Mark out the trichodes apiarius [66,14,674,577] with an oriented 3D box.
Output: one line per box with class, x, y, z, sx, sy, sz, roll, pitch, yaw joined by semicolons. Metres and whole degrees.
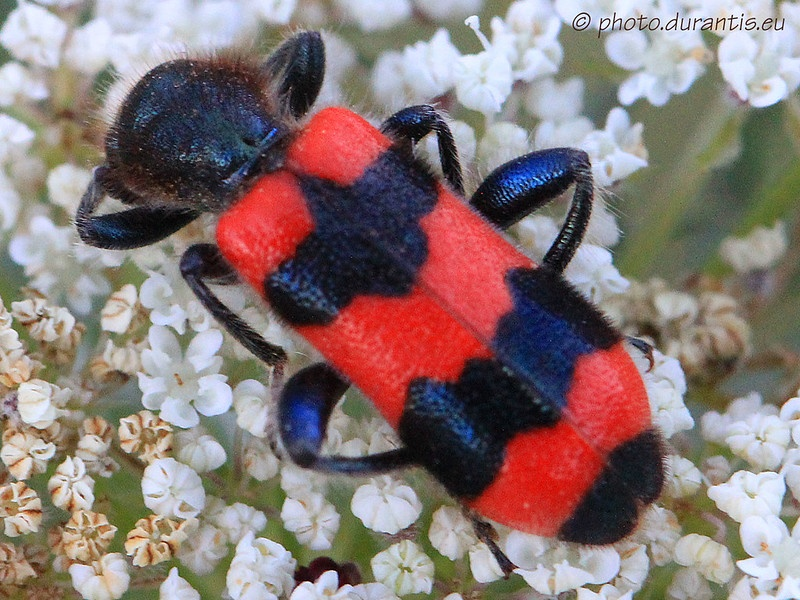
trichodes apiarius;-0.091;0.032;2.953;1.724;0.564;0.827;44;88;8
